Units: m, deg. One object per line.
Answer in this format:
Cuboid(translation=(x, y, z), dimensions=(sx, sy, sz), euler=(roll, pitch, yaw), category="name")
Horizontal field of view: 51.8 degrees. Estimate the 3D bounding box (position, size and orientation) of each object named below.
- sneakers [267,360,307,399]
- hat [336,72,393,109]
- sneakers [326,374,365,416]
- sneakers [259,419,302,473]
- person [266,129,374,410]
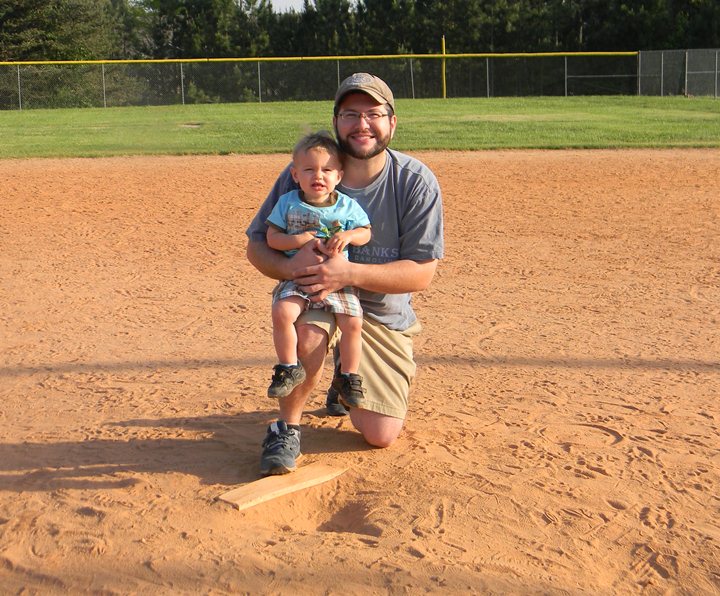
Cuboid(translation=(-0.336, 0.369, 3.299), dimensions=(0.113, 0.085, 0.220), euler=(5, 10, 20), category="sneakers")
Cuboid(translation=(-0.015, -1.003, 3.575), dimensions=(0.286, 0.140, 0.314), euler=(-2, 18, -6), category="hat")
Cuboid(translation=(-0.062, 0.465, 3.636), dimensions=(0.149, 0.142, 0.388), euler=(14, -8, -17), category="sneakers")
Cuboid(translation=(-0.373, 0.686, 3.402), dimensions=(0.179, 0.207, 0.251), euler=(-1, 13, -7), category="sneakers")
Cuboid(translation=(-0.188, -0.138, 3.462), dimensions=(0.508, 1.243, 0.645), euler=(-1, 15, -6), category="person")
